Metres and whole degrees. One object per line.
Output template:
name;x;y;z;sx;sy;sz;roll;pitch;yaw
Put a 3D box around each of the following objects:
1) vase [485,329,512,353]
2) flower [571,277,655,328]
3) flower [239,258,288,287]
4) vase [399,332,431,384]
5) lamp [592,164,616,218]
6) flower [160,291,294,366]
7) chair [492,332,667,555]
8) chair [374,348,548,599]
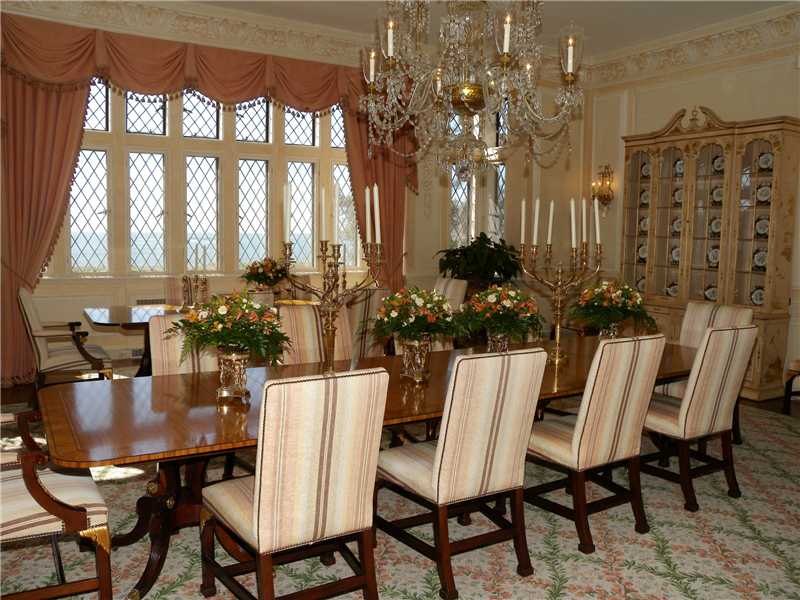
vase;0.657;0.255;4.188;0.136;0.157;0.143;2;4;18
flower;1.566;0.018;4.583;0.444;0.332;0.457;-4;9;-17
flower;-1.451;-0.316;6.764;0.548;0.314;0.406;4;10;15
vase;0.099;0.349;3.813;0.226;0.318;0.250;1;0;-29
lamp;2.716;-1.533;8.507;0.331;0.667;0.375;-9;14;-42
flower;-0.891;0.134;3.418;0.466;0.310;0.460;3;-2;-43
chair;1.120;0.821;3.874;0.770;1.244;0.901;-2;5;-7
chair;0.321;0.835;3.376;0.720;1.269;0.659;-7;13;-35
